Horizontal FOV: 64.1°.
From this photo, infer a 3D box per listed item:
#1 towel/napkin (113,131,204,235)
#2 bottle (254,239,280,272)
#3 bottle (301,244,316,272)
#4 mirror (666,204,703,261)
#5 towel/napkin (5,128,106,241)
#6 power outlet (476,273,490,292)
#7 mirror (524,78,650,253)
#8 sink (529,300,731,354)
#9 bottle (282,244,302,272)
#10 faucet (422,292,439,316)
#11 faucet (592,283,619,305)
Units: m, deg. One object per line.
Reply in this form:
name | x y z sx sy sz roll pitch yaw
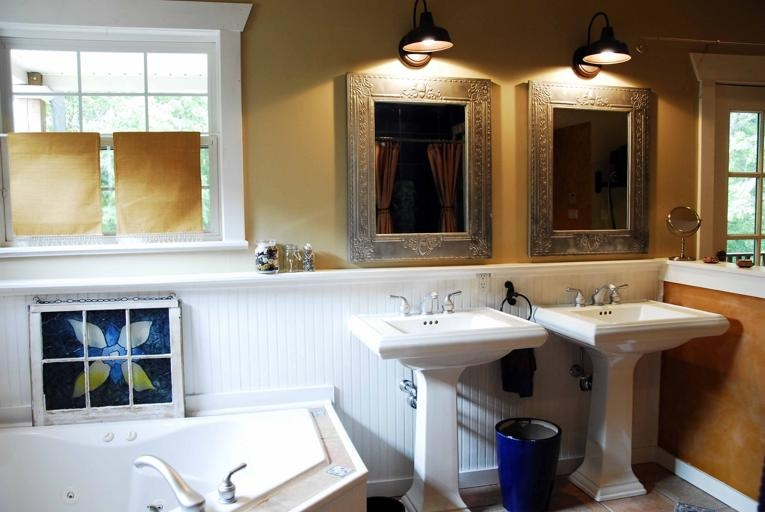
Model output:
towel/napkin | -1.371 -0.452 3.711 0.578 0.804 0.034 -2 4 -14
bottle | -0.697 0.000 3.713 0.159 0.232 0.156 1 5 0
bottle | -0.459 0.007 3.810 0.071 0.168 0.083 -4 6 5
mirror | 2.105 -0.169 4.237 0.304 0.356 0.169 -7 6 -22
towel/napkin | -1.971 -0.428 3.657 0.610 0.730 0.054 -2 3 -13
power outlet | 0.668 0.170 3.988 0.077 0.113 0.026 2 3 -2
mirror | 1.390 -0.586 4.115 0.933 1.193 0.051 -5 6 -11
sink | 1.553 0.454 3.882 1.067 0.296 0.506 -6 6 -9
bottle | -0.548 0.013 3.783 0.109 0.170 0.162 -3 7 -34
faucet | 0.306 0.299 3.861 0.122 0.145 0.122 0 3 -13
faucet | 1.484 0.254 4.108 0.188 0.145 0.116 -1 6 -27
